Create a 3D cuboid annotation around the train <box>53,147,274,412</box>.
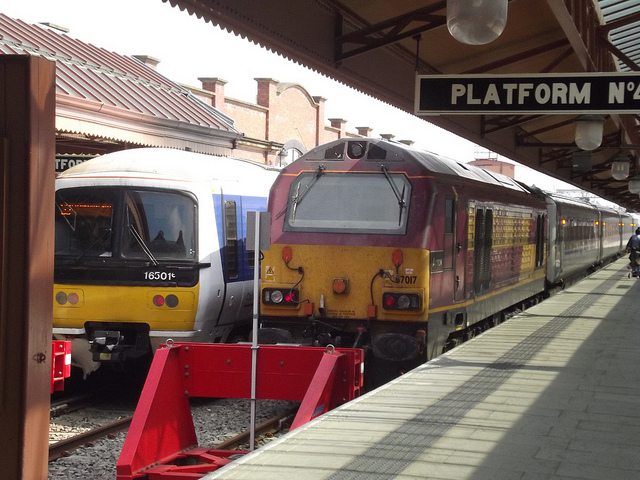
[{"bbox_3d":[-2.667,-0.008,13.845,2.881,3.492,10.011,3,6,4],"label":"train"}]
